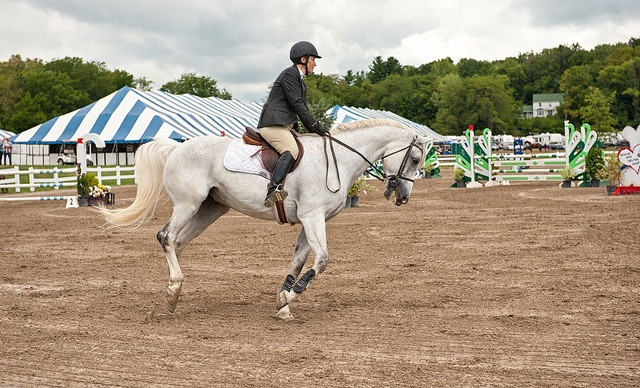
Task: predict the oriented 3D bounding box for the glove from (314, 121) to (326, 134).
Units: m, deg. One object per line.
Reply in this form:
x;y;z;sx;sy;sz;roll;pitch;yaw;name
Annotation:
-0.025;-1.704;22.365;0.313;0.132;0.250;44;18;8;glove
